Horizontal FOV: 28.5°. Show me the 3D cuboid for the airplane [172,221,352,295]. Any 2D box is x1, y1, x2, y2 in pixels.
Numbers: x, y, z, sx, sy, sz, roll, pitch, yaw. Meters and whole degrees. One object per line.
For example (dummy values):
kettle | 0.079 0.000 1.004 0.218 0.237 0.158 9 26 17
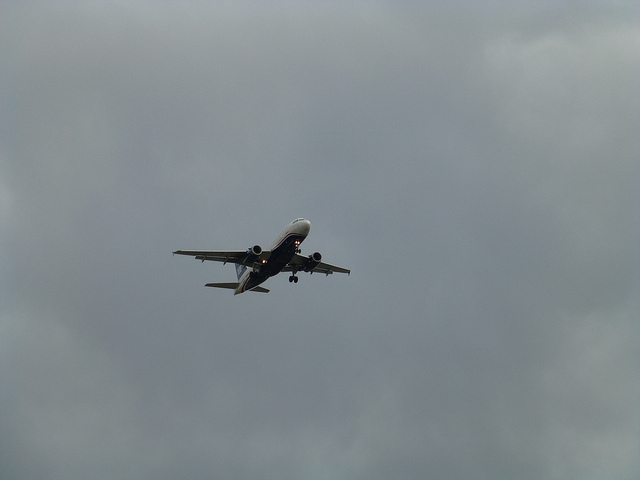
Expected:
airplane | -5.995 1.227 151.233 23.841 17.931 8.410 6 -80 18
